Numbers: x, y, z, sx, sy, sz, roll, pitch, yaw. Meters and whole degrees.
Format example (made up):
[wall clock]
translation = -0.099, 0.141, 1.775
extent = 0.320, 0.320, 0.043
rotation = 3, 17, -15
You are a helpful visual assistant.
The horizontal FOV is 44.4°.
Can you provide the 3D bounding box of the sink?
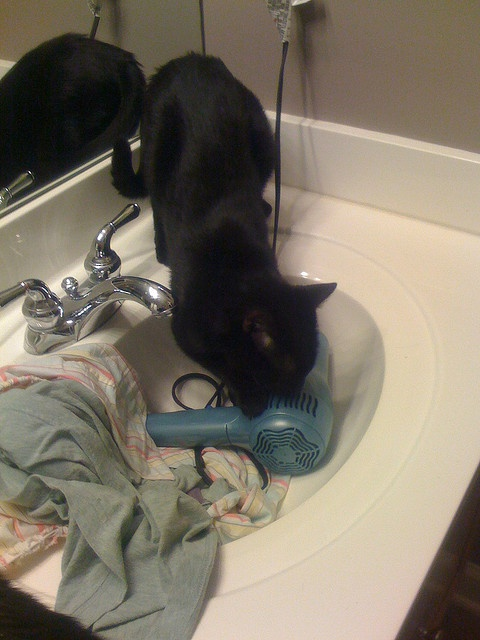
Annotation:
[sink]
translation = 0.039, 0.162, 0.996
extent = 0.443, 0.302, 0.394
rotation = -2, 36, -1
